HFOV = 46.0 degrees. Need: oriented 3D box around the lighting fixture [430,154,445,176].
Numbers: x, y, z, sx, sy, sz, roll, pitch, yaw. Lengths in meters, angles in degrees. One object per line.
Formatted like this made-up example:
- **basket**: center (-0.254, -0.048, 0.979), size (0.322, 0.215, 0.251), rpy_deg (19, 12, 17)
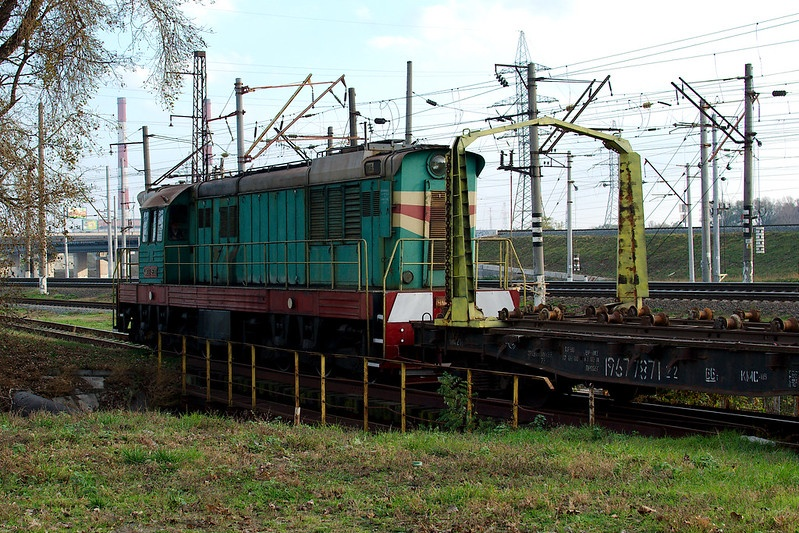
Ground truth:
- **lighting fixture**: center (0.906, -2.392, 22.268), size (0.472, 0.452, 0.278), rpy_deg (6, 1, -30)
